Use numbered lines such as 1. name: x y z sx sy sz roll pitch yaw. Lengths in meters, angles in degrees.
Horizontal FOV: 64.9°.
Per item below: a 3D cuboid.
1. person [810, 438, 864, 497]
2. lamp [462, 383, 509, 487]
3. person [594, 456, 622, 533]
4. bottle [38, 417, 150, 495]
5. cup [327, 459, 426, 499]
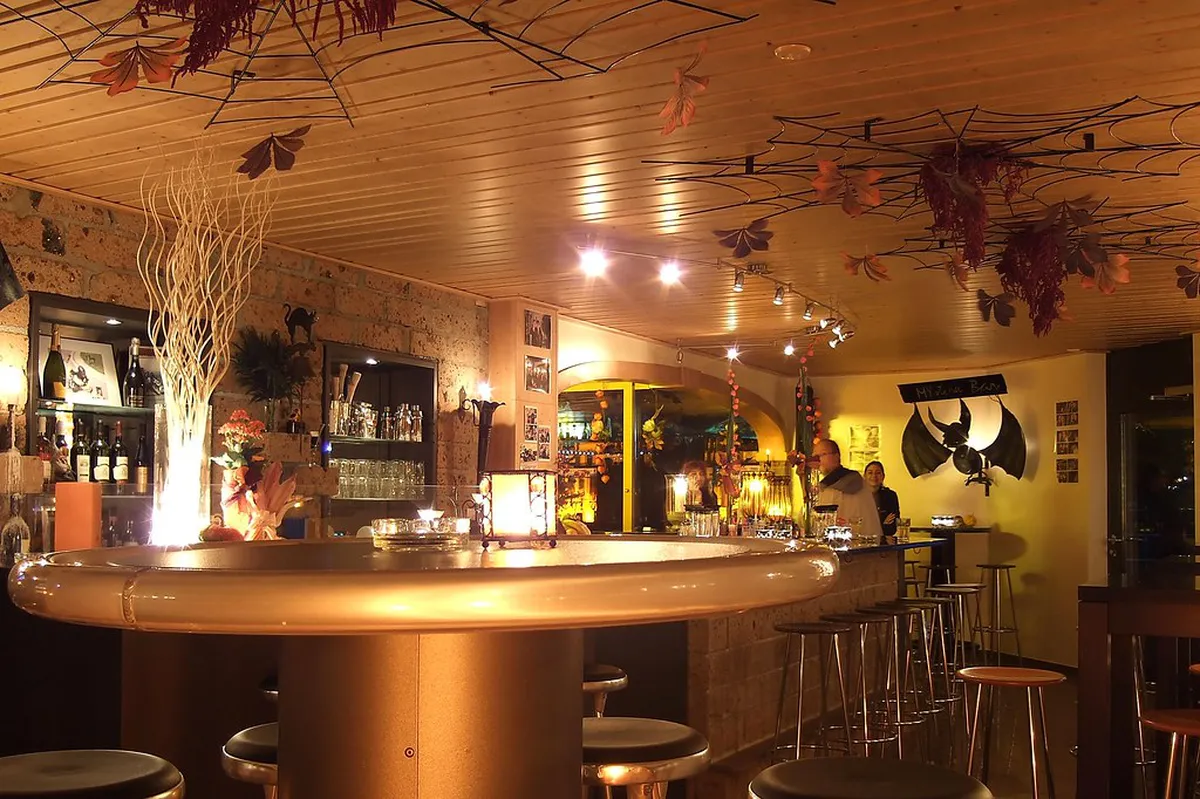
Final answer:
1. person: 2.153 0.620 8.681 0.427 0.535 0.717 -1 5 2
2. lamp: -1.001 0.219 8.163 0.267 0.779 0.363 -3 -8 22
3. person: 0.077 1.193 11.918 0.202 0.900 0.484 5 -9 -38
4. bottle: -2.851 0.319 5.280 0.137 0.343 0.420 -7 -7 31
5. cup: -1.615 0.587 6.835 0.596 0.273 0.245 4 -8 -27
